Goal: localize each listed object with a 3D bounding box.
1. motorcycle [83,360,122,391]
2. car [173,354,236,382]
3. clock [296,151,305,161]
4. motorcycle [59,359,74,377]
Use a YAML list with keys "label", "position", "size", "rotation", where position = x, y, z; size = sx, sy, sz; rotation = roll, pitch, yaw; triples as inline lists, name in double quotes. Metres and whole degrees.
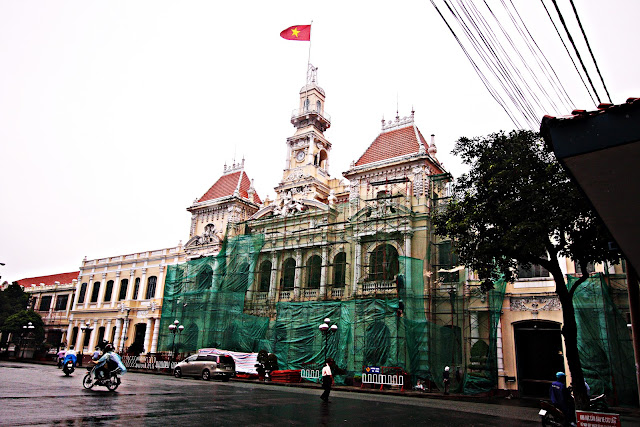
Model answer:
- label: "motorcycle"
  position: [-9.630, 7.298, 20.773]
  size: [1.853, 1.077, 1.004]
  rotation: [-6, -42, 14]
- label: "car"
  position: [-8.038, 10.516, 32.313]
  size: [4.186, 1.755, 1.375]
  rotation: [-13, -25, 31]
- label: "clock"
  position: [-1.971, -5.668, 46.479]
  size: [1.027, 1.141, 0.225]
  rotation: [-19, -29, 41]
- label: "motorcycle"
  position: [-15.593, 9.511, 28.859]
  size: [0.667, 0.746, 1.390]
  rotation: [13, -33, -30]
